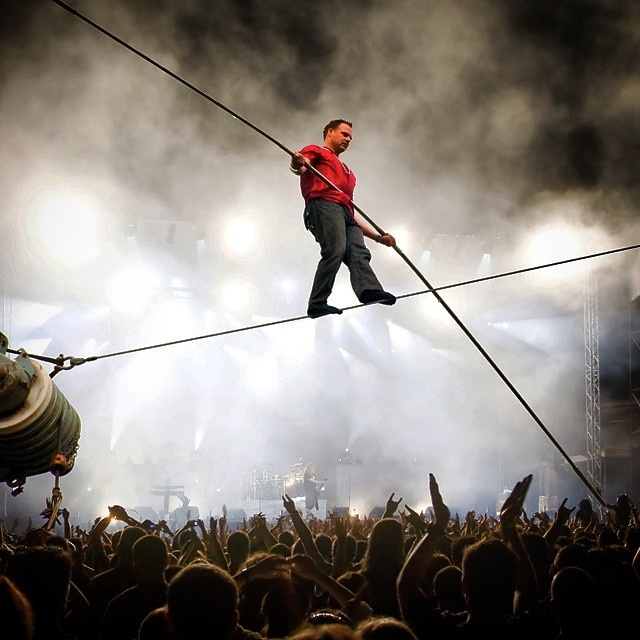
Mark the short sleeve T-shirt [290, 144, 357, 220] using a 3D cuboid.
[{"bbox_3d":[0.169,-1.871,9.157,0.527,0.967,1.026,-14,-29,34],"label":"short sleeve T-shirt"}]

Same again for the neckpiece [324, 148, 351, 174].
[{"bbox_3d":[0.173,-2.105,8.926,0.166,0.404,0.312,-52,-13,17],"label":"neckpiece"}]
